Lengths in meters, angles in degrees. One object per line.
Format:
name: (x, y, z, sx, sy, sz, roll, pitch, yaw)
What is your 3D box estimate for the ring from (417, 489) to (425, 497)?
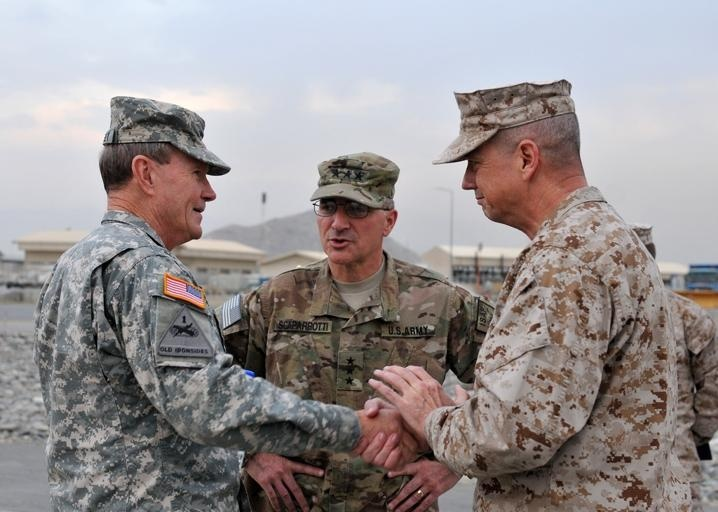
ring: (0.404, 1.564, 10.343, 0.056, 0.053, 0.015, 0, -4, 2)
